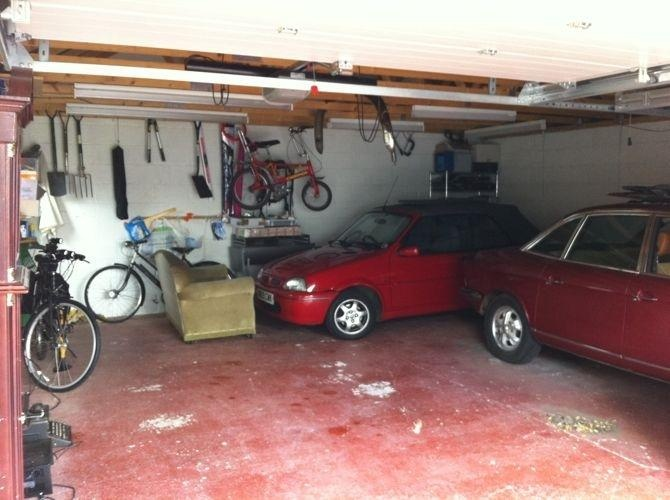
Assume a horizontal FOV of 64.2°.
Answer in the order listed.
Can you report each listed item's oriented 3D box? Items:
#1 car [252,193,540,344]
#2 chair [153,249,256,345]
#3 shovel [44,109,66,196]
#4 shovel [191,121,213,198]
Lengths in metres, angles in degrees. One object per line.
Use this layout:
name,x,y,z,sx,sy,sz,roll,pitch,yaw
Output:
car,0.838,0.160,8.052,3.577,1.506,2.012,-2,4,-20
chair,-1.802,0.602,7.544,1.103,1.201,1.392,-8,13,-31
shovel,-4.314,-1.420,8.215,0.252,1.258,0.248,-6,14,-23
shovel,-2.297,-1.487,9.075,0.338,1.288,0.196,-3,13,-11
